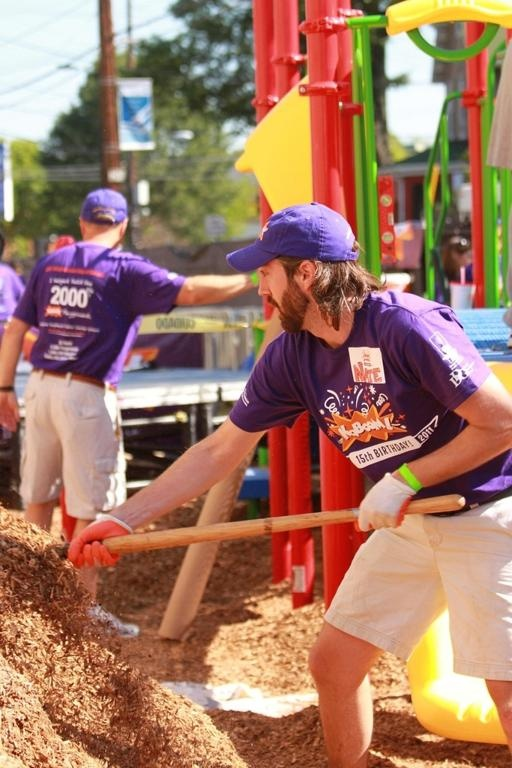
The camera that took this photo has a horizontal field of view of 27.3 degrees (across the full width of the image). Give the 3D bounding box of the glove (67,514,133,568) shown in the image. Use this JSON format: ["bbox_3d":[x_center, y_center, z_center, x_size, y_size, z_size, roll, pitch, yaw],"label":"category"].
[{"bbox_3d":[-0.431,0.445,2.968,0.166,0.121,0.070,-31,0,1],"label":"glove"}]

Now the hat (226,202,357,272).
[{"bbox_3d":[0.096,-0.389,2.740,0.291,0.146,0.178,2,13,6],"label":"hat"}]

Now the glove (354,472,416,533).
[{"bbox_3d":[0.327,0.311,2.700,0.160,0.059,0.120,-42,-3,-21],"label":"glove"}]
